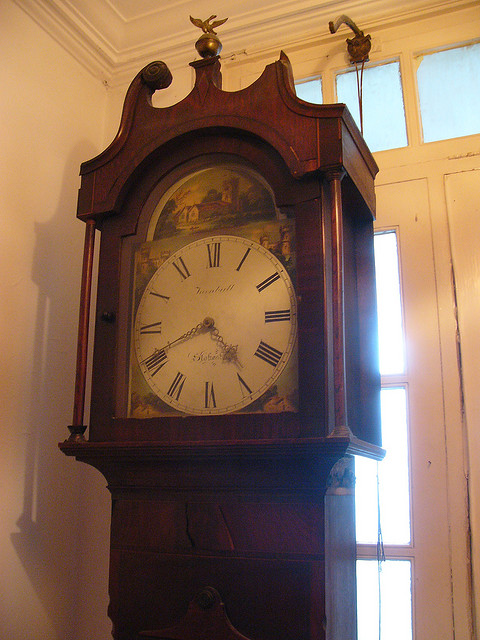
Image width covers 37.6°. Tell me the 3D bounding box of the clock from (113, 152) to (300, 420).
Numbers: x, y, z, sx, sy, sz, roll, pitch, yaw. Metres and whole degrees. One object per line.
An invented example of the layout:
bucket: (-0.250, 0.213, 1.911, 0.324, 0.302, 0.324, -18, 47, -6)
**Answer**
clock: (-0.061, -0.036, 1.528, 0.400, 0.731, 0.051, -2, -31, 1)
